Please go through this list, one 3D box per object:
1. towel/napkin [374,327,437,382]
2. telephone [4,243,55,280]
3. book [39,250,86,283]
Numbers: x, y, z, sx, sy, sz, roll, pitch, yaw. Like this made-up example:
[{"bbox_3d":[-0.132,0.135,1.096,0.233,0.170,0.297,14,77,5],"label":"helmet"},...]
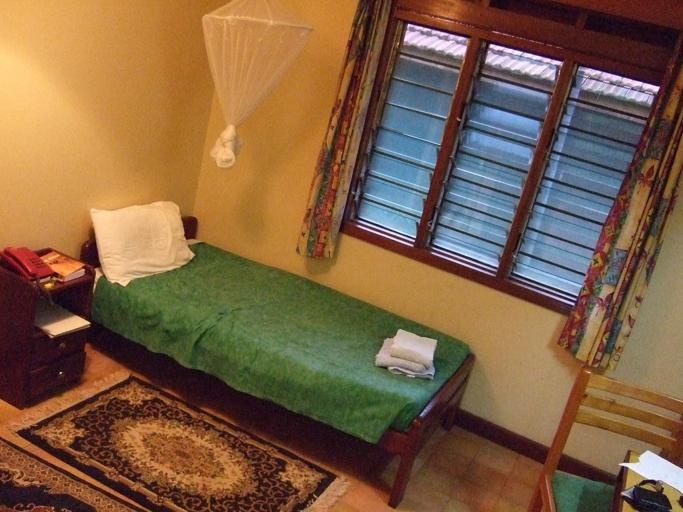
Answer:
[{"bbox_3d":[0.429,0.637,3.474,0.285,0.117,0.308,13,26,10],"label":"towel/napkin"},{"bbox_3d":[-1.883,0.043,3.267,0.292,0.126,0.167,18,21,16],"label":"telephone"},{"bbox_3d":[-1.760,0.050,3.449,0.226,0.060,0.172,37,34,27],"label":"book"}]
